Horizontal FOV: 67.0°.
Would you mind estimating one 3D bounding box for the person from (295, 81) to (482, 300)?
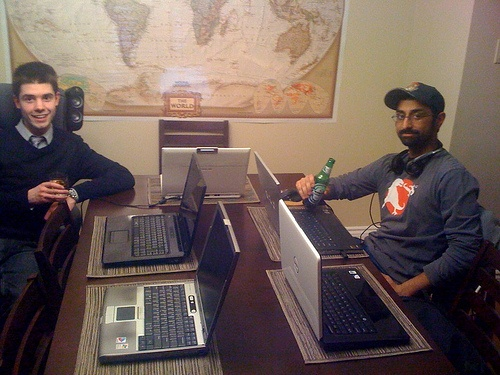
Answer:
[{"bbox_3d":[0.847,0.017,2.161,0.805,1.110,1.005,-1,4,-22],"label":"person"}]

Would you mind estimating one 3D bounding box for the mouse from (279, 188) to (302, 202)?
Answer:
[{"bbox_3d":[0.251,0.046,2.313,0.110,0.031,0.079,1,22,-1],"label":"mouse"}]

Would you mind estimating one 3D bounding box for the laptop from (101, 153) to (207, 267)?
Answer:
[{"bbox_3d":[-0.472,0.099,1.796,0.539,0.328,0.517,0,22,-3],"label":"laptop"}]

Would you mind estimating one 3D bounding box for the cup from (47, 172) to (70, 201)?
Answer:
[{"bbox_3d":[-1.082,-0.027,2.154,0.099,0.146,0.095,1,7,0],"label":"cup"}]

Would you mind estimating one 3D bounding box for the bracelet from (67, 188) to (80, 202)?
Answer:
[{"bbox_3d":[-1.063,0.045,2.272,0.055,0.077,0.024,-35,-7,12],"label":"bracelet"}]

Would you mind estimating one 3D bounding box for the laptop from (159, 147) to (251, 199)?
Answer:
[{"bbox_3d":[-0.280,-0.105,2.395,0.416,0.241,0.340,1,20,-6],"label":"laptop"}]

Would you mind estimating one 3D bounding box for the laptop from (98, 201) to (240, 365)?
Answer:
[{"bbox_3d":[-0.305,0.317,1.346,0.462,0.418,0.386,-1,21,-12],"label":"laptop"}]
